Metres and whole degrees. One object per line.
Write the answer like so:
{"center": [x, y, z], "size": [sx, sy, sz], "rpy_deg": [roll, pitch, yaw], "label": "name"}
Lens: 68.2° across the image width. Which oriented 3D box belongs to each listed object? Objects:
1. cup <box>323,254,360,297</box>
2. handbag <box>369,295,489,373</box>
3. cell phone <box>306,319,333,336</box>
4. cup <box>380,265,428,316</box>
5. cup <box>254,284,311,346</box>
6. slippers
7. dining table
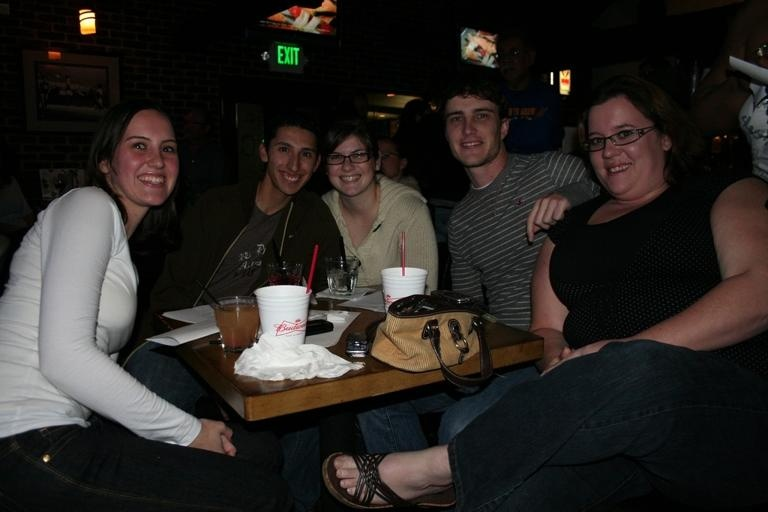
{"center": [-0.235, 0.086, 2.948], "size": [0.238, 0.242, 0.226], "rpy_deg": [0, 16, 0], "label": "cup"}
{"center": [0.202, 0.272, 2.128], "size": [0.490, 0.257, 0.274], "rpy_deg": [-8, 22, -35], "label": "handbag"}
{"center": [-0.269, 0.285, 2.298], "size": [0.074, 0.016, 0.066], "rpy_deg": [-4, 15, -20], "label": "cell phone"}
{"center": [0.074, 0.175, 2.445], "size": [0.189, 0.159, 0.183], "rpy_deg": [3, -1, 0], "label": "cup"}
{"center": [-0.372, 0.211, 2.087], "size": [0.230, 0.208, 0.216], "rpy_deg": [0, 1, 0], "label": "cup"}
{"center": [0.005, 0.919, 2.313], "size": [0.567, 0.200, 0.127], "rpy_deg": [5, -7, -3], "label": "slippers"}
{"center": [-0.197, 0.413, 2.175], "size": [0.846, 0.738, 0.809], "rpy_deg": [-10, 20, -34], "label": "dining table"}
